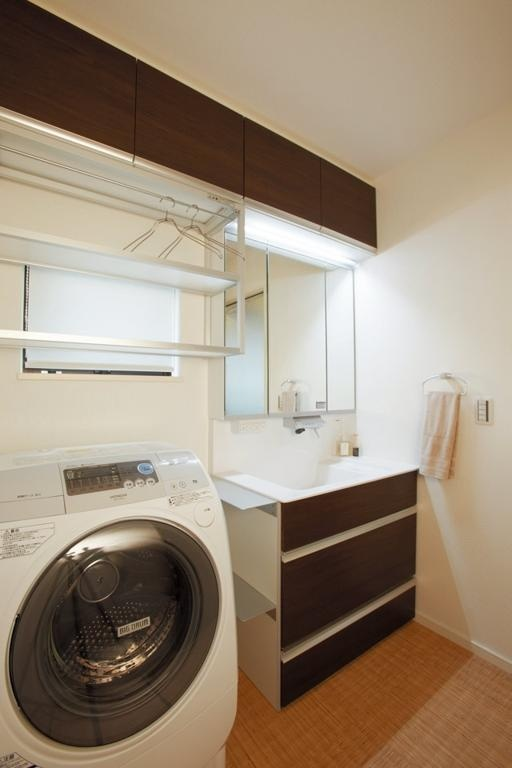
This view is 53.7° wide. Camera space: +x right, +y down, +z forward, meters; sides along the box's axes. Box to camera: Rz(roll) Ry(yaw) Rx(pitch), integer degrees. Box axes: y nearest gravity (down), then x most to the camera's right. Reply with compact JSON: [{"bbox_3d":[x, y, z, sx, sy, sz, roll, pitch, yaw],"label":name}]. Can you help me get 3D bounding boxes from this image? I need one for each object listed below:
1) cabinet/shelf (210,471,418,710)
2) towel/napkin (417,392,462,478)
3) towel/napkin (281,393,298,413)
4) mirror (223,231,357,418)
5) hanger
[{"bbox_3d":[0.216,0.819,1.959,0.816,0.748,0.312,-1,0,-41],"label":"cabinet/shelf"},{"bbox_3d":[0.856,0.242,2.351,0.036,0.381,0.155,13,-7,-44],"label":"towel/napkin"},{"bbox_3d":[0.158,0.091,2.452,0.085,0.127,0.063,-1,4,-39],"label":"towel/napkin"},{"bbox_3d":[0.147,-0.293,2.435,0.854,0.911,0.092,2,-3,-43],"label":"mirror"},{"bbox_3d":[-0.283,-0.593,2.026,0.268,0.192,0.382,12,13,36],"label":"hanger"}]
